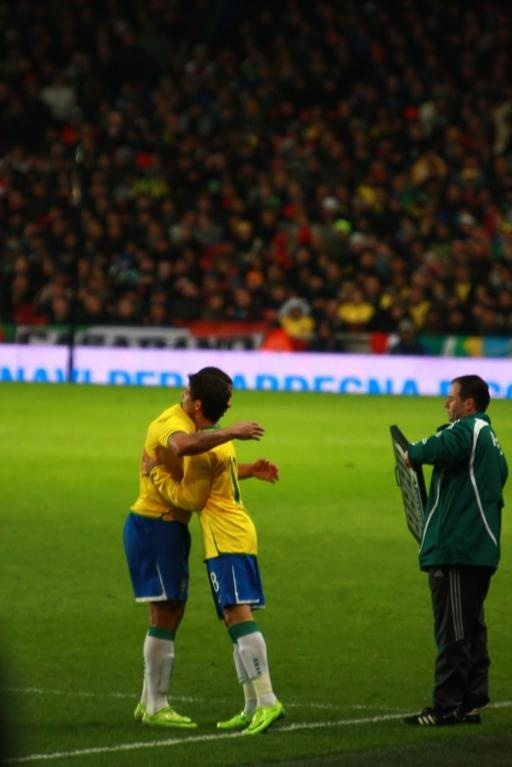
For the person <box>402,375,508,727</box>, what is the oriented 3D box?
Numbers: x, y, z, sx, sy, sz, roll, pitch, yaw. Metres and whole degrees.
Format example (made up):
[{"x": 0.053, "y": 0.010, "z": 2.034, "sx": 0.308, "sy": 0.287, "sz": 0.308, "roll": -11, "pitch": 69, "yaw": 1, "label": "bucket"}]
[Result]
[{"x": 0.893, "y": 0.720, "z": 4.156, "sx": 0.517, "sy": 1.507, "sz": 0.317, "roll": -2, "pitch": -5, "yaw": -24, "label": "person"}]

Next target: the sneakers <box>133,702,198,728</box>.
[{"x": -0.388, "y": 1.412, "z": 4.043, "sx": 0.226, "sy": 0.071, "sz": 0.117, "roll": 2, "pitch": -4, "yaw": 7, "label": "sneakers"}]

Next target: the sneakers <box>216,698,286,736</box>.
[{"x": -0.063, "y": 1.393, "z": 3.943, "sx": 0.362, "sy": 0.134, "sz": 0.124, "roll": -11, "pitch": -9, "yaw": 11, "label": "sneakers"}]

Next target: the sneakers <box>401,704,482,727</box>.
[{"x": 0.797, "y": 1.421, "z": 4.082, "sx": 0.337, "sy": 0.111, "sz": 0.110, "roll": 2, "pitch": -10, "yaw": -5, "label": "sneakers"}]

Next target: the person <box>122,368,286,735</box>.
[{"x": -0.264, "y": 0.702, "z": 4.000, "sx": 0.390, "sy": 1.520, "sz": 0.796, "roll": -1, "pitch": -5, "yaw": -33, "label": "person"}]
